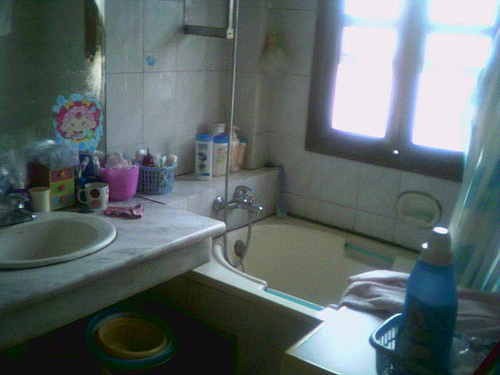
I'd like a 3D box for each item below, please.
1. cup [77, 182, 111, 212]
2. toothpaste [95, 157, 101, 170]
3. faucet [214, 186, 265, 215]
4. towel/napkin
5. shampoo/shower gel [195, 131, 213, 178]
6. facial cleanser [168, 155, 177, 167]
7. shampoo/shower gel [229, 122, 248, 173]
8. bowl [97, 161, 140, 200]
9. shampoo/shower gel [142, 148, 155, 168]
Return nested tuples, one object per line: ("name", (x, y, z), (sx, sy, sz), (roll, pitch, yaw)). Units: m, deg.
("cup", (-0.731, 0.046, 1.953), (0.175, 0.115, 0.105), (-1, 15, -1))
("toothpaste", (-0.776, -0.120, 2.040), (0.022, 0.026, 0.063), (-26, 58, -31))
("faucet", (-0.065, 0.083, 2.491), (0.203, 0.115, 0.242), (12, 12, 43))
("towel/napkin", (0.586, 0.392, 1.377), (0.369, 0.090, 0.229), (9, 25, 26))
("shampoo/shower gel", (-0.294, -0.193, 2.539), (0.102, 0.266, 0.091), (1, 18, -5))
("facial cleanser", (-0.456, -0.154, 2.305), (0.057, 0.061, 0.067), (0, 11, -13))
("shampoo/shower gel", (-0.083, -0.267, 2.793), (0.101, 0.295, 0.206), (3, 17, -1))
("bowl", (-0.695, -0.019, 2.106), (0.209, 0.178, 0.208), (-1, 6, 0))
("shampoo/shower gel", (-0.565, -0.165, 2.215), (0.073, 0.086, 0.049), (-2, 18, -15))
